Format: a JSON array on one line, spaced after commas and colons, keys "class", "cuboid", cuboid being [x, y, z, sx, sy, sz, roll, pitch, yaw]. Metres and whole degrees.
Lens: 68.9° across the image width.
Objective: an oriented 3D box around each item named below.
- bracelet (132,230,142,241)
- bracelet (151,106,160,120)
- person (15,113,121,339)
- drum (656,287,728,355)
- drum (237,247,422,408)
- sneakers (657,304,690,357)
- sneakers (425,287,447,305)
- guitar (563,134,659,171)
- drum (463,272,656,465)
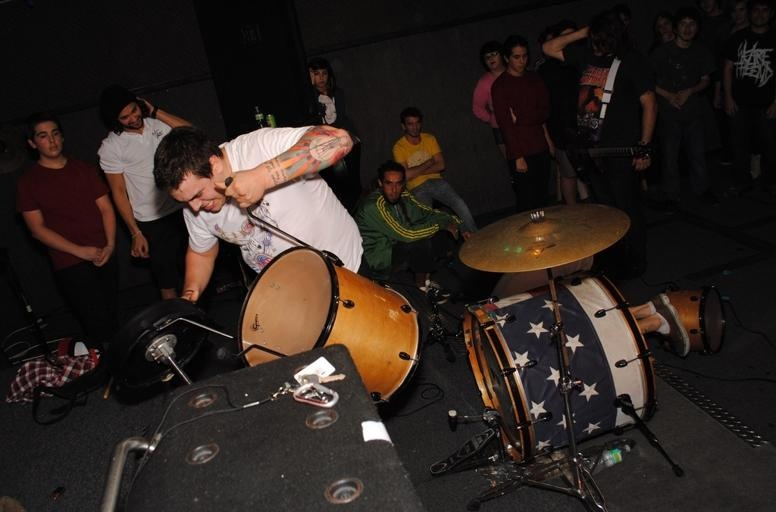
[{"class": "bracelet", "cuboid": [-2.675, -0.224, 6.045, 0.082, 0.096, 0.037, -22, 44, 9]}, {"class": "bracelet", "cuboid": [-2.530, -1.561, 6.142, 0.103, 0.107, 0.081, 2, -9, 18]}, {"class": "person", "cuboid": [-3.171, -0.280, 5.760, 0.654, 2.277, 0.707, -1, 22, 23]}, {"class": "drum", "cuboid": [2.474, 0.520, 4.792, 0.535, 0.596, 0.558, -6, 67, 11]}, {"class": "drum", "cuboid": [-0.373, 0.478, 3.999, 1.092, 1.104, 1.090, -33, 46, 36]}, {"class": "sneakers", "cuboid": [2.361, 0.615, 4.703, 0.192, 0.501, 0.184, -23, 23, 15]}, {"class": "sneakers", "cuboid": [0.407, 0.368, 4.948, 0.136, 0.044, 0.185, -28, 43, -21]}, {"class": "guitar", "cuboid": [2.260, -1.004, 5.505, 1.008, 0.409, 0.315, 7, 44, 39]}, {"class": "drum", "cuboid": [1.355, 0.761, 4.524, 1.131, 1.377, 1.257, -24, 44, 2]}]
